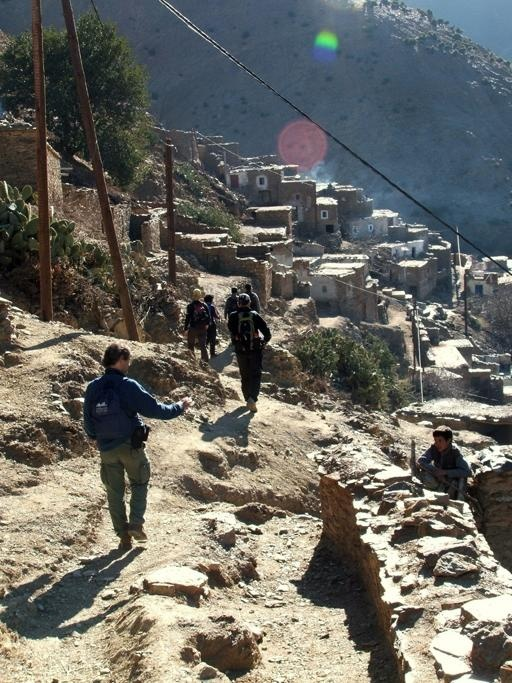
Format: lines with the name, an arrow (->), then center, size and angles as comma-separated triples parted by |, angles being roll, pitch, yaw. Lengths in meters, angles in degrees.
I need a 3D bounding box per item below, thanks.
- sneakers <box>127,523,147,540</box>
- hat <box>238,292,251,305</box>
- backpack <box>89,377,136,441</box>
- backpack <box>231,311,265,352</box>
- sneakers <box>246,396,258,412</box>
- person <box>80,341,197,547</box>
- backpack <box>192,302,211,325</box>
sneakers -> -0.838, 1.335, 7.031 | 0.066, 0.180, 0.120 | -20, 39, 17
hat -> -0.119, -0.439, 10.662 | 0.104, 0.141, 0.140 | 3, 28, 6
backpack -> -0.973, 0.482, 6.853 | 0.380, 0.481, 0.343 | -5, -5, -10
backpack -> -0.080, -0.091, 10.901 | 0.444, 0.479, 0.210 | 11, 9, 5
sneakers -> -0.033, 0.745, 11.580 | 0.082, 0.175, 0.078 | -3, 35, 7
person -> -0.901, 0.783, 6.893 | 0.654, 1.470, 0.266 | 9, 10, -11
backpack -> -0.718, -0.349, 13.159 | 0.219, 0.295, 0.299 | 0, 3, -8
